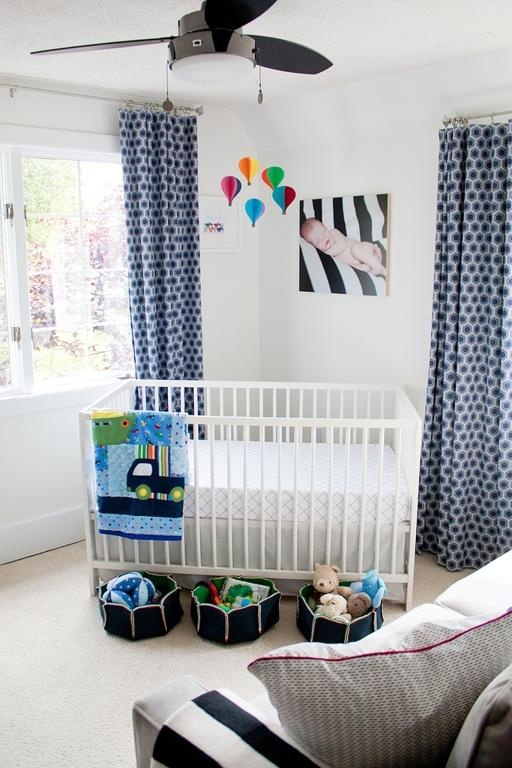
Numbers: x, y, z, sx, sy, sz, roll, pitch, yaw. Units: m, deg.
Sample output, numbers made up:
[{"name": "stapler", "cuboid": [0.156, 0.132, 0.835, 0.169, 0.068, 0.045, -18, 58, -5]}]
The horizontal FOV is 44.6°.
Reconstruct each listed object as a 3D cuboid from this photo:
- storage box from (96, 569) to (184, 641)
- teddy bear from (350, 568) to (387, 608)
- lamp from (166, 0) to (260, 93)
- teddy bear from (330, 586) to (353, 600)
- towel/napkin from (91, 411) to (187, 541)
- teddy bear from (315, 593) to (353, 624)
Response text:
[{"name": "storage box", "cuboid": [-0.449, 0.852, 2.447, 0.326, 0.223, 0.276, -3, 8, -9]}, {"name": "teddy bear", "cuboid": [0.435, 0.761, 2.378, 0.131, 0.120, 0.158, 9, 32, 27]}, {"name": "lamp", "cuboid": [-0.139, -0.806, 1.563, 0.215, 0.200, 0.218, 19, 27, 37]}, {"name": "teddy bear", "cuboid": [0.324, 0.795, 2.381, 0.057, 0.030, 0.078, 2, -1, 16]}, {"name": "towel/napkin", "cuboid": [-0.465, 0.353, 2.513, 0.522, 0.665, 0.073, 1, 11, 2]}, {"name": "teddy bear", "cuboid": [0.281, 0.803, 2.282, 0.106, 0.048, 0.082, 21, 20, 35]}]
